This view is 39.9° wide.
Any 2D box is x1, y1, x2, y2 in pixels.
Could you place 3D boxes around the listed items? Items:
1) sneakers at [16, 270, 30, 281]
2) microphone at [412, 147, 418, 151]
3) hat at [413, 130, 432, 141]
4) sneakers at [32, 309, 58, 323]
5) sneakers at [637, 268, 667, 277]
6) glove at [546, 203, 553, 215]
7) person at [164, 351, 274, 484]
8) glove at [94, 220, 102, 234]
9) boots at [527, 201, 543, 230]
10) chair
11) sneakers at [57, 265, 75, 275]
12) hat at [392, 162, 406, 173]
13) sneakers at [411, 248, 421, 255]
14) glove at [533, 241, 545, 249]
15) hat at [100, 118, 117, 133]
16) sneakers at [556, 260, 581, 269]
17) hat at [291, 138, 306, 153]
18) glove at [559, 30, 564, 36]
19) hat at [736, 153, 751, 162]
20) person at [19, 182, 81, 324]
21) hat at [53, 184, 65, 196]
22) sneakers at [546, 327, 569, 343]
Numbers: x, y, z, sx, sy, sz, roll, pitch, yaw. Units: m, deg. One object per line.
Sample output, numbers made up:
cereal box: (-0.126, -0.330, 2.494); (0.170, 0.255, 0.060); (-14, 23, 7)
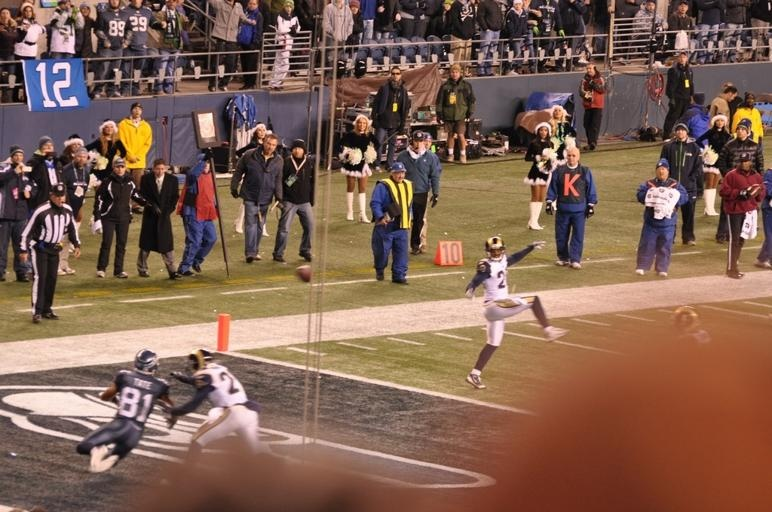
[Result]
sneakers: (-7.259, 0.385, 21.340); (0.275, 0.249, 0.166); (3, 9, 11)
microphone: (0.638, -2.440, 24.146); (0.050, 0.096, 0.270); (-7, 17, -29)
hat: (0.781, -2.758, 24.230); (0.371, 0.256, 0.484); (0, 14, -12)
sneakers: (-6.021, 1.057, 18.781); (0.369, 0.155, 0.207); (-6, 8, 13)
sneakers: (5.741, 0.345, 22.942); (0.685, 0.146, 0.258); (7, 16, 21)
glove: (3.581, -1.058, 23.244); (0.150, 0.294, 0.375); (3, 15, 7)
person: (-2.092, 1.862, 13.241); (1.190, 1.282, 0.711); (-3, 15, -16)
glove: (-5.993, -0.636, 22.105); (0.239, 0.235, 0.258); (0, -9, -9)
boots: (3.722, -1.032, 26.370); (0.364, 0.744, 0.464); (3, 15, 8)
chair: (0.542, -6.627, 34.761); (4.402, 1.099, 1.415); (-13, 20, -43)
sneakers: (-6.632, 0.279, 22.000); (0.354, 0.144, 0.126); (0, 49, -24)
hat: (0.235, -1.851, 21.962); (0.200, 0.132, 0.277); (-4, 7, -32)
sneakers: (0.701, -0.130, 24.608); (0.263, 0.241, 0.110); (4, 3, 38)
glove: (2.802, -0.232, 19.558); (0.234, 0.079, 0.141); (-4, 29, 12)
hat: (-6.557, -3.100, 25.047); (0.639, 0.260, 0.725); (0, 5, -11)
sneakers: (4.013, 0.172, 23.535); (0.601, 0.249, 0.183); (3, 17, -27)
hat: (-1.935, -2.458, 23.554); (0.328, 0.311, 0.413); (6, 15, -5)
glove: (6.252, -7.945, 37.857); (0.214, 0.253, 0.118); (2, -12, -16)
hat: (7.780, -2.193, 23.136); (0.277, 0.234, 0.466); (2, -2, 32)
person: (-5.878, -0.069, 18.542); (1.091, 2.337, 0.755); (2, -1, -39)
hat: (-5.655, -1.163, 18.317); (0.226, 0.184, 0.324); (-3, 15, -16)
sneakers: (2.657, 1.220, 16.711); (0.224, 0.161, 0.387); (-23, 4, -25)
